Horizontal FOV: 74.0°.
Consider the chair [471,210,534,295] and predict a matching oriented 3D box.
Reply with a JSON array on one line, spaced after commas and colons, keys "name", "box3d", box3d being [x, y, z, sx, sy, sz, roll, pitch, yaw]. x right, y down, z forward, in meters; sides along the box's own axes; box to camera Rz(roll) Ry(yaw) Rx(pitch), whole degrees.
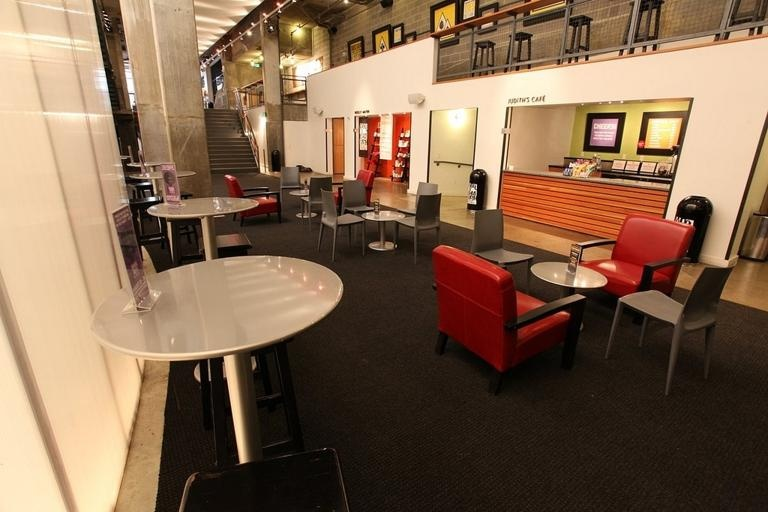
[{"name": "chair", "box3d": [1.475, -0.033, 5.981, 0.654, 1.013, 0.696, 5, -4, -16]}]

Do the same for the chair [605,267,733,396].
[{"name": "chair", "box3d": [2.575, 0.533, 4.612, 0.694, 1.126, 0.695, -12, 21, -28]}]

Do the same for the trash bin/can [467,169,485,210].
[{"name": "trash bin/can", "box3d": [1.783, -1.270, 9.797, 0.375, 0.788, 0.236, 14, 24, 40]}]

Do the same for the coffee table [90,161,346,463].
[{"name": "coffee table", "box3d": [-1.027, 0.765, 3.413, 1.432, 1.296, 1.102, -13, 21, -31]}]

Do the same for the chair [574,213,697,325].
[{"name": "chair", "box3d": [2.647, 0.072, 5.461, 1.051, 0.922, 0.909, -14, 24, -43]}]

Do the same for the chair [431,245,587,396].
[{"name": "chair", "box3d": [1.117, 0.444, 4.668, 1.198, 1.096, 1.171, -4, 22, -8]}]

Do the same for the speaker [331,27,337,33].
[{"name": "speaker", "box3d": [-1.690, -7.777, 17.522, 0.183, 0.172, 0.046, 5, 30, 19]}]
